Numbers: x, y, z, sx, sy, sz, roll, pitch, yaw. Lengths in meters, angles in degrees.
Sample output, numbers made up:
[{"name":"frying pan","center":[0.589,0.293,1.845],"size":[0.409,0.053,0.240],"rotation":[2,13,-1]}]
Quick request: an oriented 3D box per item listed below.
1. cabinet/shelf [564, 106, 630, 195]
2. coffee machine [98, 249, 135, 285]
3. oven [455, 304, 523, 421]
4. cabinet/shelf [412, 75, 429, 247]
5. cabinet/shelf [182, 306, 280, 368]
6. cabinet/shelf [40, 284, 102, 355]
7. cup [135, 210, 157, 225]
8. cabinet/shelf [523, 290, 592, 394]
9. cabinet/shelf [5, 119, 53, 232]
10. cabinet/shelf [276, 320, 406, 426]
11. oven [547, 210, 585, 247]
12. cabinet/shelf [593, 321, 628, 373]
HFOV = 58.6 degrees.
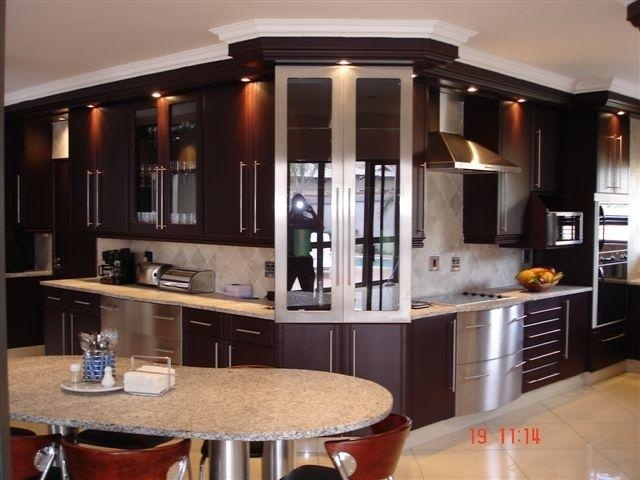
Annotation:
[{"name":"cabinet/shelf","center":[2.792,-0.922,5.818],"size":[0.912,0.799,0.379],"rotation":[-2,2,-39]},{"name":"coffee machine","center":[-2.075,0.269,5.817],"size":[0.344,0.338,0.334],"rotation":[-3,8,-19]},{"name":"oven","center":[1.350,1.019,5.045],"size":[0.968,0.877,0.572],"rotation":[-2,5,-42]},{"name":"cabinet/shelf","center":[0.793,-0.605,4.581],"size":[0.115,1.324,0.291],"rotation":[1,8,10]},{"name":"cabinet/shelf","center":[-0.666,0.748,4.413],"size":[0.551,0.322,0.213],"rotation":[-2,-5,41]},{"name":"cabinet/shelf","center":[-2.350,0.740,5.374],"size":[0.750,0.669,0.291],"rotation":[-1,-3,40]},{"name":"cup","center":[-1.639,-0.202,5.342],"size":[0.144,0.143,0.269],"rotation":[0,0,-36]},{"name":"cabinet/shelf","center":[2.263,0.975,5.504],"size":[1.073,0.835,0.590],"rotation":[-3,2,-39]},{"name":"cabinet/shelf","center":[-3.443,-0.733,6.720],"size":[0.549,1.255,0.258],"rotation":[-4,9,-24]},{"name":"cabinet/shelf","center":[0.087,0.797,3.550],"size":[0.736,0.640,0.270],"rotation":[0,-1,-4]},{"name":"oven","center":[2.349,-0.105,5.602],"size":[0.589,0.387,0.316],"rotation":[-2,0,-43]},{"name":"cabinet/shelf","center":[3.063,1.122,6.056],"size":[0.642,0.402,0.401],"rotation":[-4,2,-38]}]
